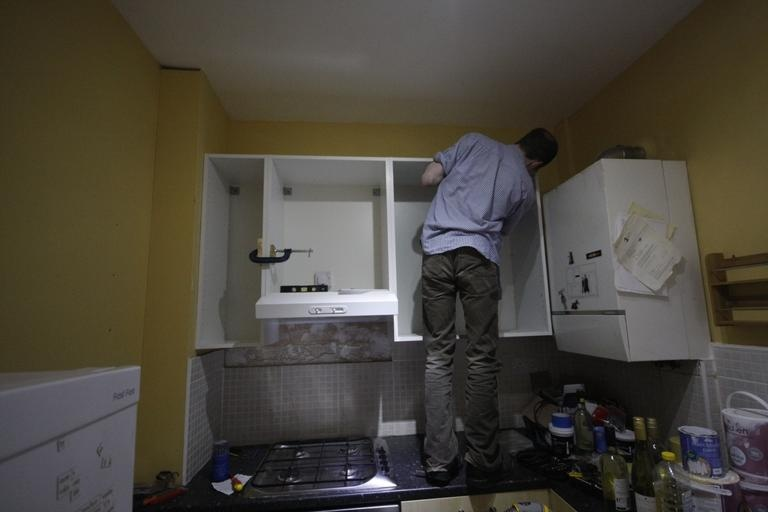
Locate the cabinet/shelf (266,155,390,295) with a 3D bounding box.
[{"bbox_3d":[-0.341,-0.206,3.412,0.719,0.882,0.531,-2,10,0],"label":"cabinet/shelf"}]

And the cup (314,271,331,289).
[{"bbox_3d":[-0.396,0.155,3.423,0.100,0.109,0.102,1,-5,0],"label":"cup"}]

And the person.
[{"bbox_3d":[0.558,0.249,3.040,0.704,1.897,0.761,0,10,9],"label":"person"}]

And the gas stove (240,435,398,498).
[{"bbox_3d":[-0.356,1.222,3.094,0.833,0.051,0.574,-2,11,-3],"label":"gas stove"}]

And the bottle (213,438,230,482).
[{"bbox_3d":[-0.924,1.150,2.976,0.088,0.194,0.128,-3,10,-10],"label":"bottle"}]

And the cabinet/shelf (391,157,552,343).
[{"bbox_3d":[0.537,-0.023,3.210,1.151,1.413,0.721,0,-3,3],"label":"cabinet/shelf"}]

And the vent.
[{"bbox_3d":[-0.318,0.274,2.999,0.773,0.125,0.208,-2,11,-2],"label":"vent"}]

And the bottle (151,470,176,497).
[{"bbox_3d":[-1.184,1.228,2.843,0.104,0.105,0.082,5,-6,-15],"label":"bottle"}]

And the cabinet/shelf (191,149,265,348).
[{"bbox_3d":[-1.108,-0.049,3.942,0.473,0.744,1.594,-11,-22,-20],"label":"cabinet/shelf"}]
